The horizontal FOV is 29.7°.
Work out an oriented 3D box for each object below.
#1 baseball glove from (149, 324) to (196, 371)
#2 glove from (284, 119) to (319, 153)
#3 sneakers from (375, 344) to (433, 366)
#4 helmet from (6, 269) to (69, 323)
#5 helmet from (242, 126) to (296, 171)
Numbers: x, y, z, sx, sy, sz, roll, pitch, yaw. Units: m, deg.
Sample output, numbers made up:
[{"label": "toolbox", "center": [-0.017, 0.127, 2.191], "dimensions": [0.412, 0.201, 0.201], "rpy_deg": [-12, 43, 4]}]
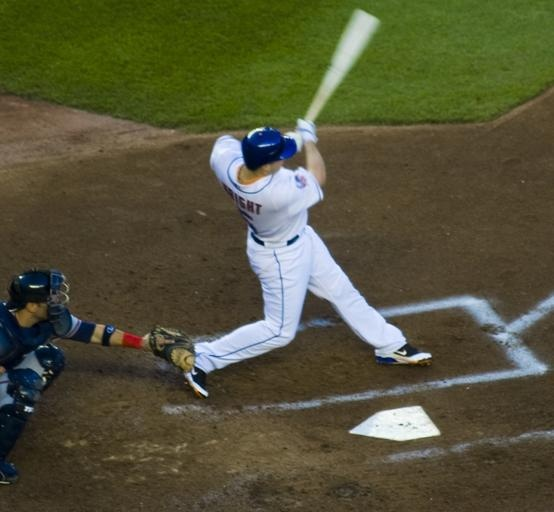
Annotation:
[{"label": "baseball glove", "center": [-0.772, 0.665, 7.749], "dimensions": [0.419, 0.216, 0.187], "rpy_deg": [23, 10, 14]}, {"label": "glove", "center": [0.165, -0.874, 7.606], "dimensions": [0.228, 0.145, 0.303], "rpy_deg": [11, 19, -10]}, {"label": "sneakers", "center": [0.970, 0.753, 8.015], "dimensions": [0.475, 0.159, 0.161], "rpy_deg": [-1, 11, 3]}, {"label": "helmet", "center": [-1.654, 0.261, 7.162], "dimensions": [0.385, 0.329, 0.291], "rpy_deg": [8, 56, -7]}, {"label": "helmet", "center": [-0.099, -0.758, 7.148], "dimensions": [0.403, 0.179, 0.253], "rpy_deg": [-20, 51, -11]}]
